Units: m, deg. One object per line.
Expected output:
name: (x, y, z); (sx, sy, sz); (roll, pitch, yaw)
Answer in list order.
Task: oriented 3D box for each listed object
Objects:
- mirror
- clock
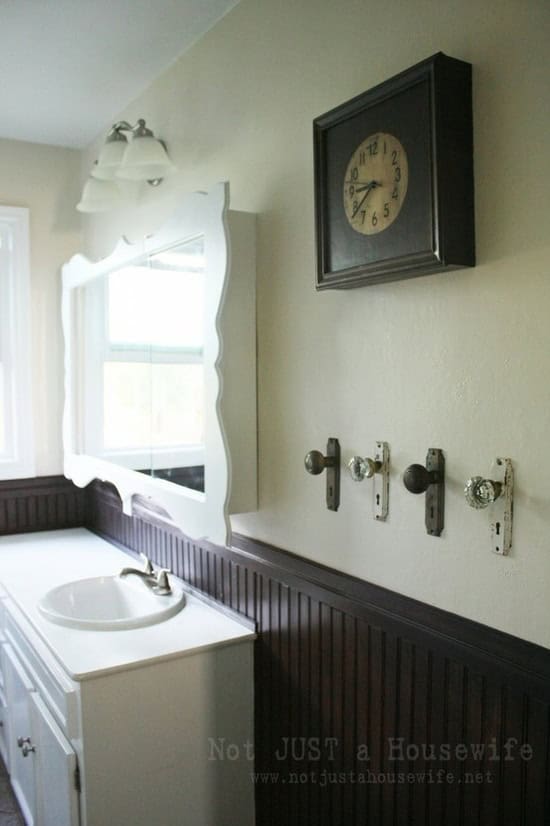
mirror: (-0.444, -0.145, 2.243); (0.033, 0.629, 1.138); (-1, 4, -29)
clock: (0.197, -0.377, 1.191); (0.076, 0.427, 0.369); (0, -2, -24)
